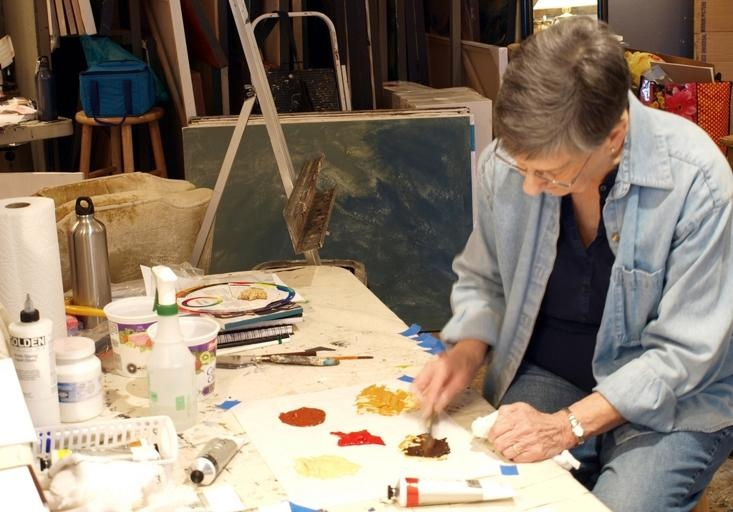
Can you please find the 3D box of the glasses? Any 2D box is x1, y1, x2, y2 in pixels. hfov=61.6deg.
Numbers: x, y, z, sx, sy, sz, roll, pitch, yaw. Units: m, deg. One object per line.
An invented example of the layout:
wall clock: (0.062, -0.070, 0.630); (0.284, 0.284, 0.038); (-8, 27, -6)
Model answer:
glasses: (0.454, -0.256, 1.717); (0.176, 0.120, 0.353); (-7, 21, -15)

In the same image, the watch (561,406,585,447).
watch: (0.508, 0.427, 1.541); (0.047, 0.060, 0.064); (-15, 25, -33)

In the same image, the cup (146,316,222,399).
cup: (-0.413, 0.229, 1.540); (0.191, 0.186, 0.193); (-1, 20, 1)

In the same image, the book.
book: (-0.364, 0.170, 1.857); (0.251, 0.059, 0.250); (-11, 31, -22)

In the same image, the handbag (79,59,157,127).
handbag: (-1.618, -1.082, 4.050); (0.390, 0.276, 0.448); (-3, 21, -2)

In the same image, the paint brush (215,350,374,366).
paint brush: (-0.193, 0.289, 1.722); (0.244, 0.044, 0.028); (-3, 63, 1)
